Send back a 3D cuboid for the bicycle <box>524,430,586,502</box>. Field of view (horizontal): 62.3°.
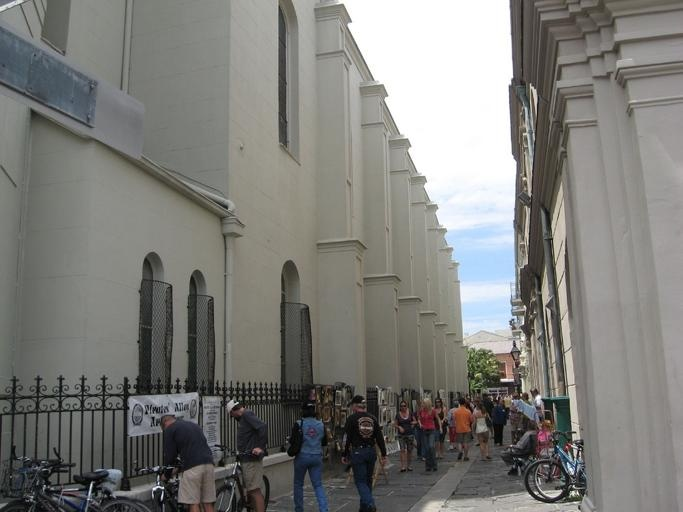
[{"bbox_3d":[4.168,4.100,10.943,1.090,1.229,1.437,-13,-15,28],"label":"bicycle"}]

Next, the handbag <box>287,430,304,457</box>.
[{"bbox_3d":[-0.792,3.286,9.900,0.261,0.461,0.283,-3,-13,-7],"label":"handbag"}]
